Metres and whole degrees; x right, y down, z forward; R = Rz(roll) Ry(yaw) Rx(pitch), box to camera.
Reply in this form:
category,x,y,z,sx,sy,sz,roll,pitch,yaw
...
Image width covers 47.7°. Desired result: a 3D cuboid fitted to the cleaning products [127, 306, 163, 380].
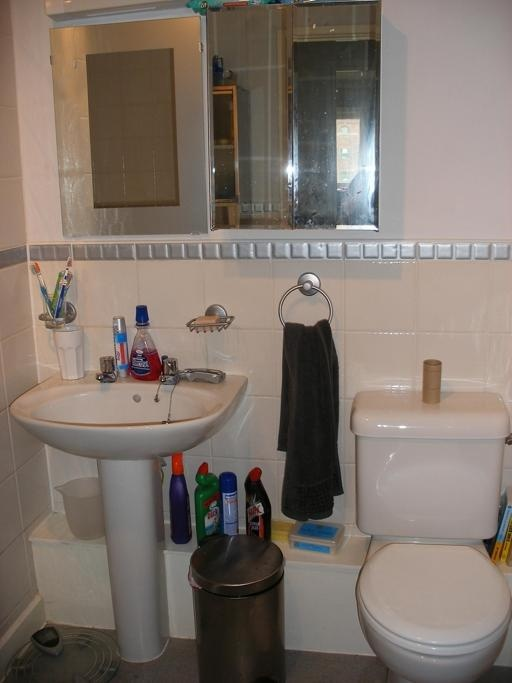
category,x,y,z,sx,sy,sz,roll,pitch,yaw
cleaning products,-0.316,0.004,1.591,0.094,0.205,0.062,-4,8,1

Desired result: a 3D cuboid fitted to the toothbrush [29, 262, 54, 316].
category,x,y,z,sx,sy,sz,roll,pitch,yaw
toothbrush,-0.617,-0.158,1.660,0.019,0.022,0.171,-13,66,-47

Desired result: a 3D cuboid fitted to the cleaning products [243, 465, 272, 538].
category,x,y,z,sx,sy,sz,roll,pitch,yaw
cleaning products,-0.001,0.455,1.614,0.076,0.209,0.060,-3,8,9

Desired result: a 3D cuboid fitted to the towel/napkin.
category,x,y,z,sx,sy,sz,roll,pitch,yaw
towel/napkin,0.146,0.212,1.487,0.155,0.566,0.071,-2,25,1

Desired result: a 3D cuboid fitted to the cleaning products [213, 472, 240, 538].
category,x,y,z,sx,sy,sz,roll,pitch,yaw
cleaning products,-0.079,0.446,1.604,0.055,0.176,0.064,-5,8,-6

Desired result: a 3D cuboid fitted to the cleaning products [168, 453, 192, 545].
category,x,y,z,sx,sy,sz,roll,pitch,yaw
cleaning products,-0.229,0.438,1.681,0.064,0.271,0.130,-5,8,-8

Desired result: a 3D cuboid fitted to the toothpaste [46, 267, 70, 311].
category,x,y,z,sx,sy,sz,roll,pitch,yaw
toothpaste,-0.551,-0.147,1.608,0.041,0.185,0.043,10,13,-10

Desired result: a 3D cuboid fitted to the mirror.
category,x,y,z,sx,sy,sz,roll,pitch,yaw
mirror,0.093,-0.520,1.298,0.418,0.627,0.024,2,18,10

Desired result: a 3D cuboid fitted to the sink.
category,x,y,z,sx,sy,sz,roll,pitch,yaw
sink,-0.333,0.187,1.431,0.557,0.145,0.466,-4,9,10
